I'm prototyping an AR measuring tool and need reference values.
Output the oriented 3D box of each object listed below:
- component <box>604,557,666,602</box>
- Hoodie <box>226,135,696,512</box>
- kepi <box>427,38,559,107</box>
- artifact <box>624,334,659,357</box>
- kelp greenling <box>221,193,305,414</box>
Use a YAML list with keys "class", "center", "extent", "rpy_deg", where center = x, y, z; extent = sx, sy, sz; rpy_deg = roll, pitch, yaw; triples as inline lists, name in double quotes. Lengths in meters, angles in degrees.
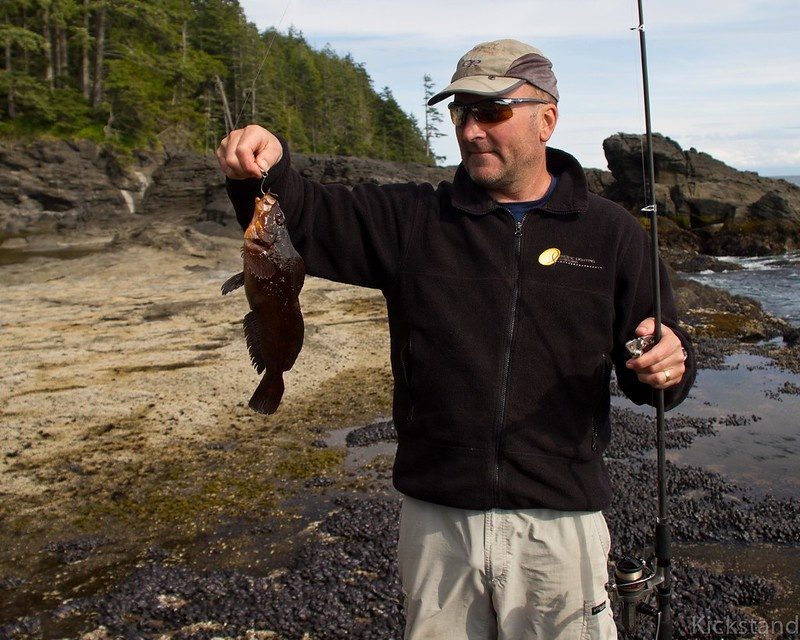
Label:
- class: "component"
  center: [1.331, 1.449, 3.941]
  extent: [0.301, 0.131, 0.240]
  rpy_deg: [-9, 11, -25]
- class: "Hoodie"
  center: [0.361, -0.010, 3.940]
  extent: [2.857, 1.903, 1.287]
  rpy_deg: [5, -3, 1]
- class: "kepi"
  center: [0.541, -1.418, 3.959]
  extent: [0.500, 0.340, 0.751]
  rpy_deg: [10, 17, 38]
- class: "artifact"
  center: [1.260, 0.129, 3.639]
  extent: [0.124, 0.047, 0.125]
  rpy_deg: [-38, 26, -27]
- class: "kelp greenling"
  center: [-0.769, -0.079, 4.084]
  extent: [0.598, 1.239, 0.442]
  rpy_deg: [-2, 16, -11]
